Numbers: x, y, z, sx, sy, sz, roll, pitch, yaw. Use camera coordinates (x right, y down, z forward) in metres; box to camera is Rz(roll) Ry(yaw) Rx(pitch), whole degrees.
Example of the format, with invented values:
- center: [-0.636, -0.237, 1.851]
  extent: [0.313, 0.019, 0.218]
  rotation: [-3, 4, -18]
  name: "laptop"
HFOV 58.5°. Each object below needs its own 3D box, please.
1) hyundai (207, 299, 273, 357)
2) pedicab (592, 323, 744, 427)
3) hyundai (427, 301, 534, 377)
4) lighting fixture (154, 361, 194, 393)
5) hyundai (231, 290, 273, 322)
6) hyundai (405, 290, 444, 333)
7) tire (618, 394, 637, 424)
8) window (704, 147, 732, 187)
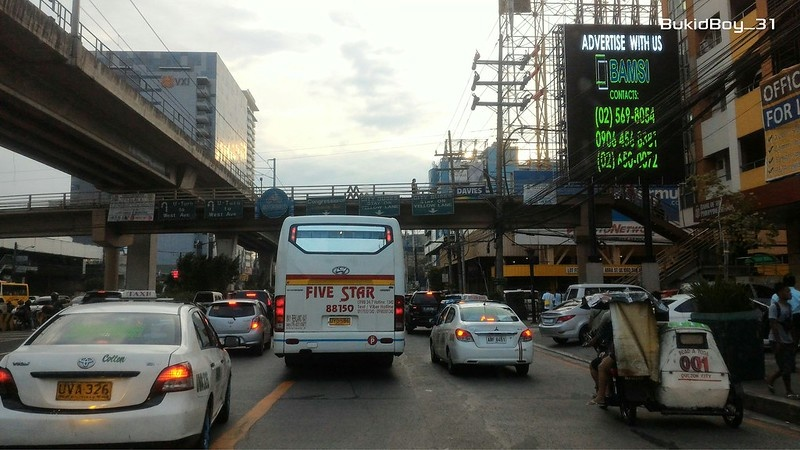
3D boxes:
- center: [-7.653, 4.731, 33.970]
  extent: [2.760, 2.362, 5.655]
  rotation: [0, -4, -4]
  name: "hyundai"
- center: [9.390, 4.833, 23.830]
  extent: [3.662, 3.398, 5.293]
  rotation: [0, -1, 2]
  name: "pedicab"
- center: [3.275, 4.667, 30.284]
  extent: [3.519, 2.710, 6.730]
  rotation: [0, -3, -5]
  name: "hyundai"
- center: [-6.368, 4.333, 20.069]
  extent: [0.636, 0.466, 1.028]
  rotation: [3, -7, -38]
  name: "lighting fixture"
- center: [-9.649, 5.299, 45.137]
  extent: [2.146, 1.667, 3.493]
  rotation: [0, 0, 2]
  name: "hyundai"
- center: [1.284, 4.997, 42.512]
  extent: [1.649, 1.428, 2.854]
  rotation: [0, 1, -2]
  name: "hyundai"
- center: [7.167, 5.796, 22.475]
  extent: [0.372, 1.017, 0.962]
  rotation: [3, 2, -4]
  name: "tire"
- center: [20.180, -3.742, 45.391]
  extent: [1.038, 1.982, 2.144]
  rotation: [-8, -7, 27]
  name: "window"
